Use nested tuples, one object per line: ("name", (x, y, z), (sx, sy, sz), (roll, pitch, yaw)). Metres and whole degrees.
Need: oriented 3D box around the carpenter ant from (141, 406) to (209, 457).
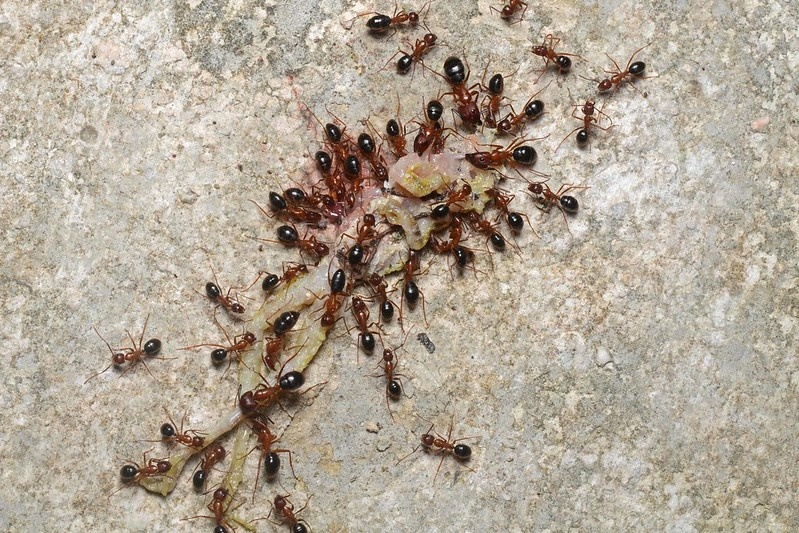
("carpenter ant", (-1.563, 1.219, 7.614), (0.296, 0.092, 0.287), (17, 88, -1))
